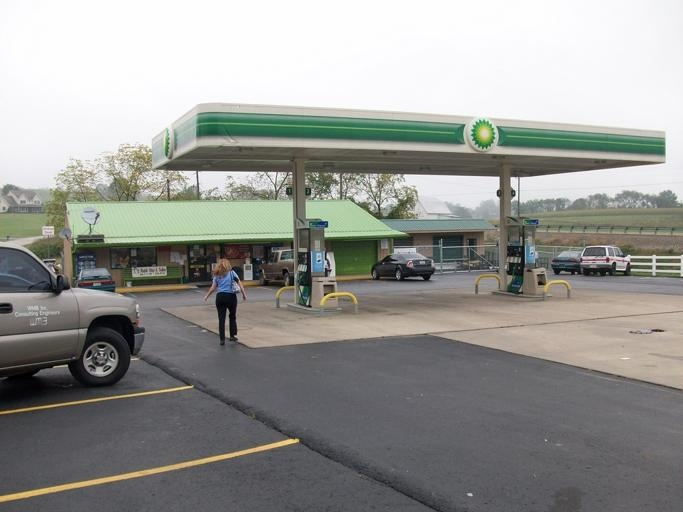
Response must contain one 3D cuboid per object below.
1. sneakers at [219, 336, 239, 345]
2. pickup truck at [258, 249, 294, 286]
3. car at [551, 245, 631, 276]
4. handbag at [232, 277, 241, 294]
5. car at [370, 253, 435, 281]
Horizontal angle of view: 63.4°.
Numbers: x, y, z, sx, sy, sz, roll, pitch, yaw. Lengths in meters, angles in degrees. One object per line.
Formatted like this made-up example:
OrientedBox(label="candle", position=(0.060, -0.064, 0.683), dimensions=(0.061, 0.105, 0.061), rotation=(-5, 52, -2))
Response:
OrientedBox(label="sneakers", position=(-2.646, 1.914, 12.962), dimensions=(0.416, 0.263, 0.132), rotation=(-8, 7, -16))
OrientedBox(label="pickup truck", position=(-3.740, 0.313, 32.269), dimensions=(0.897, 2.186, 3.246), rotation=(-2, 3, -28))
OrientedBox(label="car", position=(15.927, -0.152, 35.265), dimensions=(4.130, 1.917, 1.889), rotation=(1, 3, 35))
OrientedBox(label="handbag", position=(-2.442, 0.590, 12.885), dimensions=(0.206, 0.260, 0.108), rotation=(-6, 0, 33))
OrientedBox(label="car", position=(3.909, 0.286, 34.895), dimensions=(1.466, 1.791, 4.100), rotation=(-3, 3, -37))
